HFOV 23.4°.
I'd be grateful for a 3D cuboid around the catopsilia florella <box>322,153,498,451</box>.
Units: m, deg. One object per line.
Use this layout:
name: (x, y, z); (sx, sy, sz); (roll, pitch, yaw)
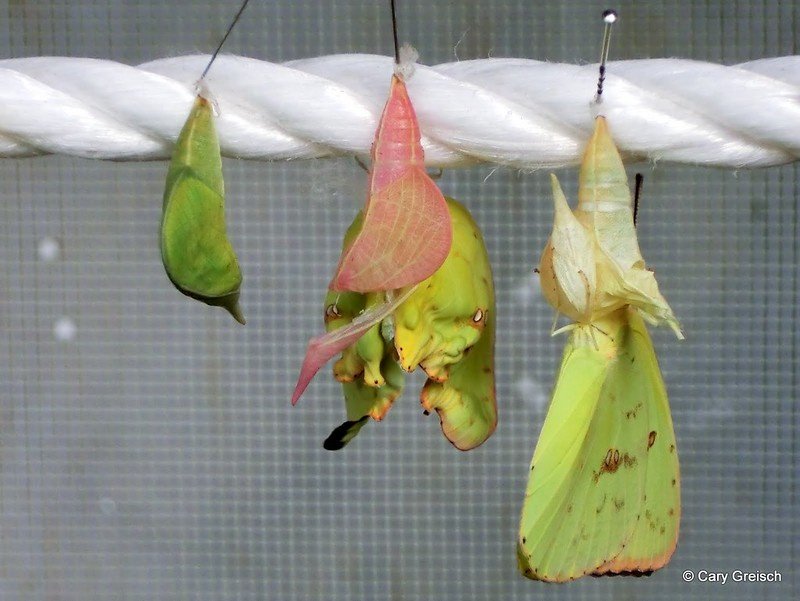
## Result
catopsilia florella: (-0.001, 0.015, 1.884); (0.193, 0.098, 0.301); (-10, 56, -7)
